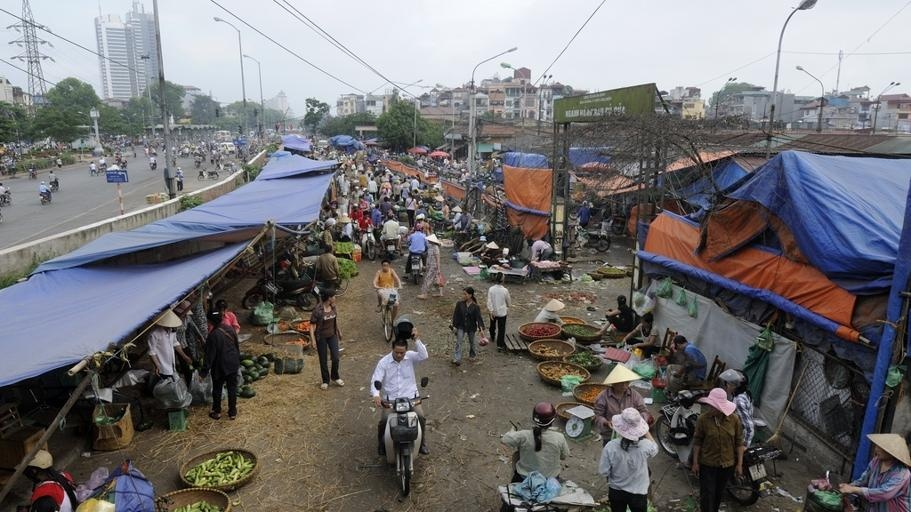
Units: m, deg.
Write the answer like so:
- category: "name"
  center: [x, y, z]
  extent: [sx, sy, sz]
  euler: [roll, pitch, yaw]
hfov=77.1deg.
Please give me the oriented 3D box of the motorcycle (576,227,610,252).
- category: "motorcycle"
  center: [6.204, -0.735, 25.766]
  extent: [1.784, 0.991, 0.875]
  euler: [12, 27, 19]

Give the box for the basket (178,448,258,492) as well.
- category: "basket"
  center: [-4.884, 4.595, 12.058]
  extent: [1.423, 0.345, 1.333]
  euler: [5, 16, 16]

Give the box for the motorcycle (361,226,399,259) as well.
- category: "motorcycle"
  center: [-3.191, -0.576, 24.107]
  extent: [1.079, 1.116, 2.038]
  euler: [0, 16, -9]

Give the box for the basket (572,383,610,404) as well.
- category: "basket"
  center: [3.390, 3.388, 14.276]
  extent: [0.879, 0.233, 0.815]
  euler: [-5, 15, -12]

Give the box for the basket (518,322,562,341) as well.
- category: "basket"
  center: [2.547, 2.205, 16.907]
  extent: [0.702, 0.183, 0.664]
  euler: [3, 14, 19]

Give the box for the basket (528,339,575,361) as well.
- category: "basket"
  center: [2.724, 2.610, 16.126]
  extent: [0.742, 0.168, 0.715]
  euler: [7, 13, 26]

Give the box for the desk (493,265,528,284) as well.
- category: "desk"
  center: [2.032, 0.664, 21.177]
  extent: [1.004, 0.374, 0.727]
  euler: [2, 12, 8]
